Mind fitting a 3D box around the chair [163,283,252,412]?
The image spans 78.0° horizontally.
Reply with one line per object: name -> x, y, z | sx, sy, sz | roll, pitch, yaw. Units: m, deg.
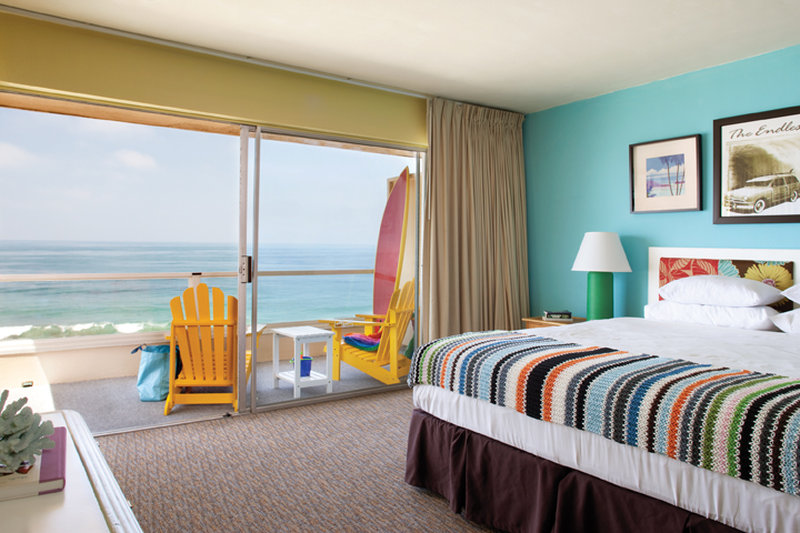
chair -> -1.594, 0.786, 4.966 | 0.796, 1.099, 1.254 | 0, -3, -7

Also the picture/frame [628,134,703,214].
picture/frame -> 2.592, -0.894, 4.728 | 0.082, 0.939, 0.894 | 1, -1, -40

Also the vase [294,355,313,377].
vase -> -0.969, 1.024, 5.093 | 0.205, 0.197, 0.208 | 1, 3, -6

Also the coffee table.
coffee table -> -1.073, 0.864, 5.164 | 0.658, 0.760, 0.855 | 1, -2, -32
